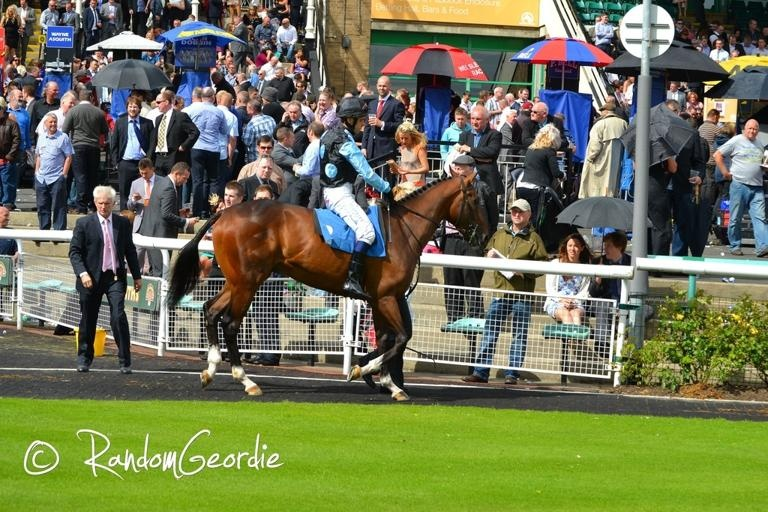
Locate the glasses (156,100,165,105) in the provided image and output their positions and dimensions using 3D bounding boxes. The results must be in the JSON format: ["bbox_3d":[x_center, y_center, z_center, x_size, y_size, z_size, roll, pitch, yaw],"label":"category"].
[{"bbox_3d":[-3.891,-2.687,29.951,0.116,0.109,0.032,-3,-12,6],"label":"glasses"}]

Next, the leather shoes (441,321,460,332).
[{"bbox_3d":[0.983,1.012,25.682,0.291,0.115,0.102,-6,23,-5],"label":"leather shoes"}]

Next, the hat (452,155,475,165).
[{"bbox_3d":[1.185,-1.414,25.275,0.234,0.086,0.162,4,0,-23],"label":"hat"}]

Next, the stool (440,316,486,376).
[{"bbox_3d":[1.202,1.258,25.636,0.722,0.676,0.627,-1,3,-3],"label":"stool"}]

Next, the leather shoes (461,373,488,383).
[{"bbox_3d":[1.359,1.790,25.738,0.382,0.151,0.136,4,-1,-4],"label":"leather shoes"}]

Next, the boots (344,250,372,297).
[{"bbox_3d":[-0.386,0.250,24.506,0.360,0.627,0.253,2,1,1],"label":"boots"}]

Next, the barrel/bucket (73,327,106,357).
[{"bbox_3d":[-4.450,1.263,26.240,0.491,0.413,0.475,1,0,0],"label":"barrel/bucket"}]

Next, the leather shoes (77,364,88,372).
[{"bbox_3d":[-4.381,1.589,25.019,0.081,0.066,0.175,-6,-8,23],"label":"leather shoes"}]

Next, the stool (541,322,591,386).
[{"bbox_3d":[2.765,1.326,25.507,0.645,0.753,0.486,-12,-13,21],"label":"stool"}]

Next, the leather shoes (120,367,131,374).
[{"bbox_3d":[-3.760,1.615,25.106,0.162,0.102,0.185,2,1,-10],"label":"leather shoes"}]
